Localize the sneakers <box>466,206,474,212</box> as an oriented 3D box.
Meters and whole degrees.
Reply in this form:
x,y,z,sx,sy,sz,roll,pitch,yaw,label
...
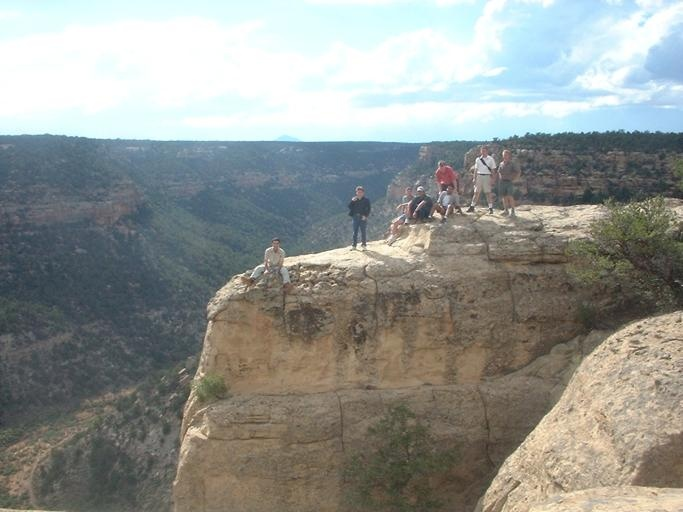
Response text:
x,y,z,sx,sy,sz,roll,pitch,yaw,label
8.400,-3.118,47.339,0.469,0.160,0.184,-13,17,-5,sneakers
